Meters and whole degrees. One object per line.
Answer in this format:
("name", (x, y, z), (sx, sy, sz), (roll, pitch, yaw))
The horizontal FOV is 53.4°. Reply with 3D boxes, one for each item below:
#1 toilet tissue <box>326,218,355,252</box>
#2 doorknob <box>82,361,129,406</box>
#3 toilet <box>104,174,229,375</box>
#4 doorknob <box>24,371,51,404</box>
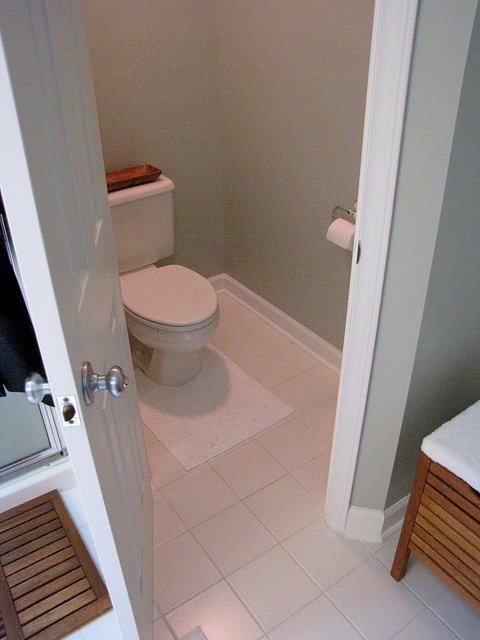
("toilet tissue", (0.343, -0.276, 1.642), (0.086, 0.065, 0.100), (29, 56, 18))
("doorknob", (-0.179, 0.081, 0.631), (0.045, 0.050, 0.058), (0, 74, -3))
("toilet", (-0.351, -0.123, 1.971), (0.323, 0.747, 0.598), (-19, 36, -34))
("doorknob", (-0.238, 0.074, 0.568), (0.016, 0.045, 0.030), (-8, 13, -44))
